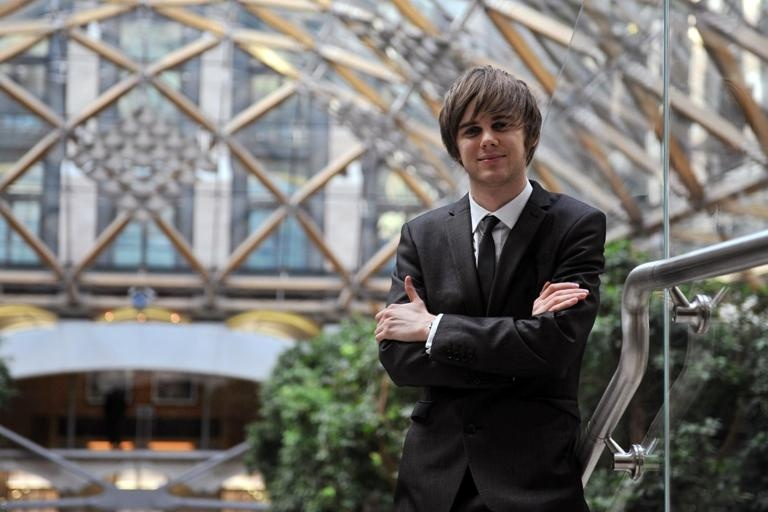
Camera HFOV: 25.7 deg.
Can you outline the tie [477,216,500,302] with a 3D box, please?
[{"bbox_3d":[0.758,0.019,12.398,0.139,0.670,0.101,-1,-16,10],"label":"tie"}]
